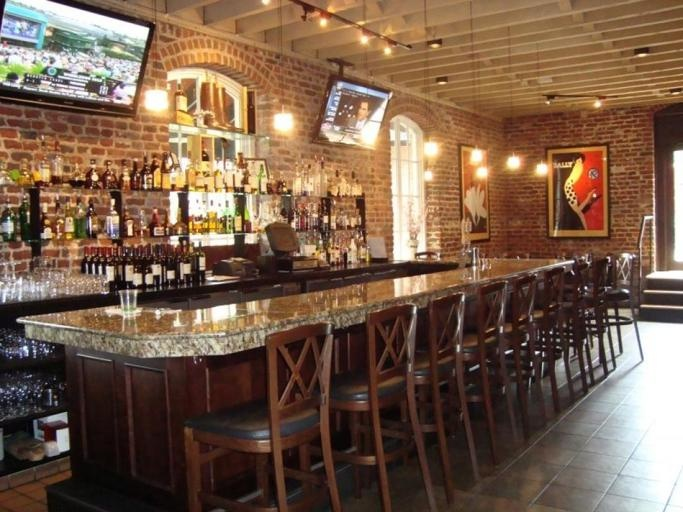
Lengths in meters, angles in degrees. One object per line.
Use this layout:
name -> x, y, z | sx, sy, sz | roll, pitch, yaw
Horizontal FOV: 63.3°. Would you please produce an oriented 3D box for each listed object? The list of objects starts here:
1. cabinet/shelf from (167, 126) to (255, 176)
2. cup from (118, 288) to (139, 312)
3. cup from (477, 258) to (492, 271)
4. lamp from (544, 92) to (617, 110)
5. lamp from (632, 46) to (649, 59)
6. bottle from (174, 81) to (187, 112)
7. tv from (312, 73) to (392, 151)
cabinet/shelf -> -1.455, -1.140, 6.059 | 0.188, 0.409, 0.755 | 1, 2, 33
cup -> -1.285, 0.269, 3.361 | 0.094, 0.149, 0.216 | -4, 6, -23
cup -> 1.584, 0.099, 6.198 | 0.100, 0.100, 0.100 | -2, 10, 0
lamp -> 4.376, -2.850, 10.179 | 1.629, 0.198, 0.328 | 2, -5, -28
lamp -> 4.121, -2.813, 7.655 | 0.197, 0.114, 0.198 | 2, 6, 28
bottle -> -1.659, -1.634, 5.725 | 0.105, 0.307, 0.281 | -3, 6, -17
tv -> 0.097, -2.031, 7.775 | 1.383, 1.007, 0.145 | -1, 25, -47
